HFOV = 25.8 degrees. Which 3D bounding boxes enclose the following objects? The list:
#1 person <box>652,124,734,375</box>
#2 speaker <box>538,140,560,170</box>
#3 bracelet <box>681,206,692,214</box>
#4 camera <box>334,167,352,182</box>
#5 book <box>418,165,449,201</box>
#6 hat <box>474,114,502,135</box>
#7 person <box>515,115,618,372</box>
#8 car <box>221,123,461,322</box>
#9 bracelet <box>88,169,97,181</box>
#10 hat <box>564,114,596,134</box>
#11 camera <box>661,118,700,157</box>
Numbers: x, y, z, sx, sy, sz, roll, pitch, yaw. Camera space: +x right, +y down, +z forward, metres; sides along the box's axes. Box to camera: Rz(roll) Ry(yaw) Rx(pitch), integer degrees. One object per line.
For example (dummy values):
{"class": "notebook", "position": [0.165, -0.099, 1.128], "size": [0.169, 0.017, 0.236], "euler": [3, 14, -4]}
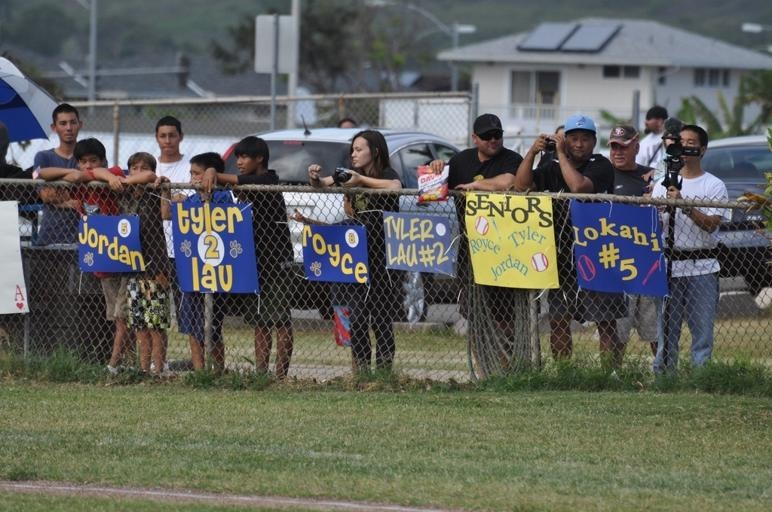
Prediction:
{"class": "person", "position": [3.890, -0.089, 21.286], "size": [0.947, 3.147, 0.774], "euler": [0, -3, 5]}
{"class": "speaker", "position": [2.075, -1.281, 21.276], "size": [0.124, 0.308, 0.248], "euler": [-15, 40, -37]}
{"class": "bracelet", "position": [3.787, -0.565, 21.043], "size": [0.090, 0.061, 0.125], "euler": [3, -1, 4]}
{"class": "camera", "position": [-0.531, -1.008, 21.250], "size": [0.172, 0.114, 0.181], "euler": [0, -2, 3]}
{"class": "book", "position": [0.605, -0.891, 21.038], "size": [0.451, 0.535, 0.074], "euler": [-1, -18, 7]}
{"class": "hat", "position": [1.304, -1.646, 21.338], "size": [0.245, 0.198, 0.328], "euler": [-3, 0, -17]}
{"class": "person", "position": [2.337, -0.188, 21.215], "size": [1.320, 3.163, 0.815], "euler": [0, -3, 4]}
{"class": "car", "position": [-0.212, -0.730, 24.330], "size": [2.069, 1.828, 3.818], "euler": [0, 2, 28]}
{"class": "bracelet", "position": [-3.783, -1.025, 21.650], "size": [0.033, 0.125, 0.118], "euler": [-12, -23, -5]}
{"class": "hat", "position": [2.475, -1.643, 21.321], "size": [0.384, 0.243, 0.340], "euler": [0, -3, 4]}
{"class": "camera", "position": [3.741, -1.434, 21.095], "size": [0.478, 0.532, 0.250], "euler": [6, 0, 8]}
